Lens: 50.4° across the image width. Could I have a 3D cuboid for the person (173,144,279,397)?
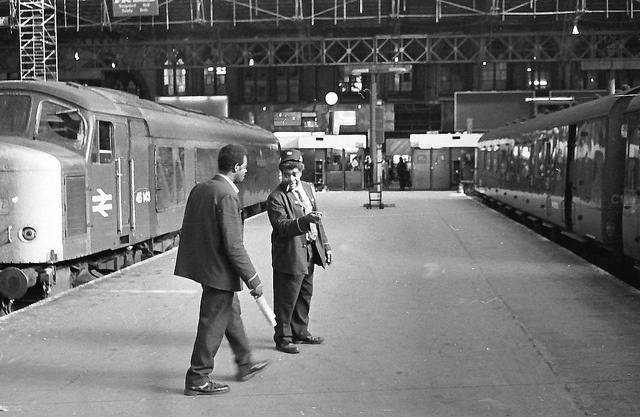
[{"bbox_3d":[-1.379,0.804,9.189,1.109,3.268,0.791,-3,7,-21],"label":"person"}]
